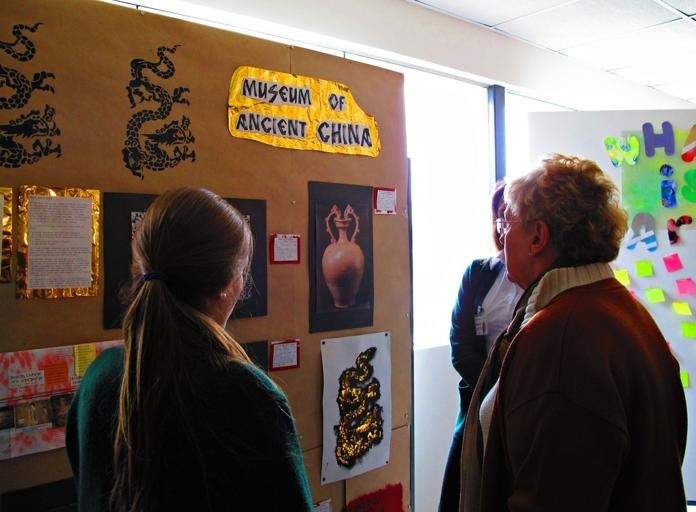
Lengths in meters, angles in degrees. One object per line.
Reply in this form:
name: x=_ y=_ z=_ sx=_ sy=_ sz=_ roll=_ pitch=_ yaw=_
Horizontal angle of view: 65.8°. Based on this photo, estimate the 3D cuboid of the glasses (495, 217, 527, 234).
glasses: x=0.562 y=-0.108 z=1.840 sx=0.089 sy=0.033 sz=0.092 roll=4 pitch=5 yaw=11
